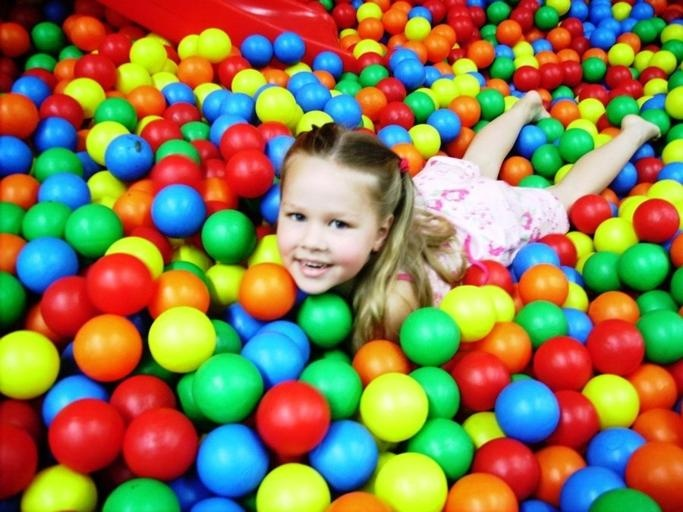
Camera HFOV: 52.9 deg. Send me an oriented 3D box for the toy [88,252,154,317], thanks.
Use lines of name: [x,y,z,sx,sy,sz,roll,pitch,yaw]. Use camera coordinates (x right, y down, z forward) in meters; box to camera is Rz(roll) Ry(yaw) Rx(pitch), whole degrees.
toy: [-0.733,0.109,2.348,0.197,0.212,0.201,-6,51,-6]

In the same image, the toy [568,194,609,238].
toy: [1.103,-0.166,3.135,0.156,0.163,0.203,0,76,-2]

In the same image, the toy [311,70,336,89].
toy: [-0.096,-0.934,3.736,0.097,0.122,0.110,1,97,-10]

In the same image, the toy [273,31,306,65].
toy: [-0.287,-1.114,3.760,0.184,0.183,0.162,9,55,-9]

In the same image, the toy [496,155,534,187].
toy: [0.887,-0.424,3.601,0.139,0.146,0.179,-17,83,-9]

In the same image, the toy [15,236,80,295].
toy: [-1.019,0.025,2.387,0.180,0.190,0.222,-3,54,-27]

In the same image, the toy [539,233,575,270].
toy: [0.948,-0.020,3.043,0.121,0.136,0.161,-1,64,-7]

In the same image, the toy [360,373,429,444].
toy: [0.174,0.502,2.236,0.222,0.223,0.282,9,77,-43]

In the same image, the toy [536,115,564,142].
toy: [1.147,-0.683,3.782,0.125,0.134,0.166,-1,94,5]

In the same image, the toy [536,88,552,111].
toy: [1.224,-0.941,4.145,0.120,0.162,0.128,-1,18,13]

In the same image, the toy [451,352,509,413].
toy: [0.447,0.407,2.314,0.175,0.223,0.187,1,53,8]

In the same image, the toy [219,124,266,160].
toy: [-0.427,-0.483,2.980,0.145,0.180,0.161,-2,67,4]

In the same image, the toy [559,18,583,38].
toy: [1.569,-1.527,4.718,0.127,0.163,0.142,3,72,4]

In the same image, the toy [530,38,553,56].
toy: [1.313,-1.367,4.550,0.116,0.129,0.142,-5,16,-5]

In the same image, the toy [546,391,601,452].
toy: [0.737,0.511,2.284,0.155,0.207,0.165,-5,20,-8]

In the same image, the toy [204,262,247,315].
toy: [-0.431,0.130,2.563,0.145,0.145,0.190,1,90,9]

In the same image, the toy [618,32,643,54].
toy: [1.884,-1.394,4.542,0.125,0.140,0.161,0,33,-6]

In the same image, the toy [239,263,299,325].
toy: [-0.252,0.143,2.499,0.176,0.220,0.197,-6,63,4]

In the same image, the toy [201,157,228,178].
toy: [-0.541,-0.368,2.886,0.095,0.049,0.122,3,58,-15]

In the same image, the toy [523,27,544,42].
toy: [1.295,-1.481,4.651,0.098,0.122,0.112,0,92,12]

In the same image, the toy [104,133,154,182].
toy: [-0.865,-0.387,2.792,0.188,0.165,0.137,-3,58,-17]

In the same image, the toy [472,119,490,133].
toy: [0.765,-0.711,3.792,0.074,0.096,0.081,3,39,-3]

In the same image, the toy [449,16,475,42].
toy: [0.786,-1.456,4.471,0.141,0.185,0.151,1,25,13]

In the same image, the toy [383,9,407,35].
toy: [0.341,-1.484,4.411,0.111,0.137,0.118,-22,57,2]

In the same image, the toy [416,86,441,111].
toy: [0.487,-0.846,3.806,0.126,0.130,0.165,-1,97,9]

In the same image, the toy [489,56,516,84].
toy: [0.993,-1.151,4.260,0.133,0.167,0.149,-8,62,6]

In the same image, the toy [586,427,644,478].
toy: [0.854,0.605,2.178,0.131,0.164,0.137,-21,40,1]

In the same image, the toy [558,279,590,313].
toy: [0.912,0.162,2.728,0.103,0.110,0.136,1,88,8]

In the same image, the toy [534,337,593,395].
toy: [0.769,0.372,2.420,0.161,0.200,0.183,11,63,18]

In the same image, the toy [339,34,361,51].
toy: [0.044,-1.320,4.300,0.114,0.141,0.129,4,101,-7]

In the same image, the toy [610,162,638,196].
toy: [1.407,-0.394,3.480,0.128,0.173,0.138,5,16,7]

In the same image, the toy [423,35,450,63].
toy: [0.613,-1.276,4.313,0.149,0.187,0.155,-20,19,18]

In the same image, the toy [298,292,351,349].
toy: [-0.083,0.245,2.521,0.175,0.178,0.226,-3,79,-9]

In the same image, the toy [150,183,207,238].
toy: [-0.612,-0.168,2.574,0.187,0.130,0.172,-30,70,-30]

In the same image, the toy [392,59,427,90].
toy: [0.383,-0.981,3.825,0.145,0.177,0.164,-7,89,12]

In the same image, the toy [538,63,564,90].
toy: [1.270,-1.097,4.220,0.144,0.186,0.151,5,31,13]

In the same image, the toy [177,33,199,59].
toy: [-0.800,-1.097,3.657,0.117,0.131,0.148,7,27,-10]

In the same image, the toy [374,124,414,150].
toy: [0.251,-0.589,3.444,0.147,0.161,0.178,4,27,-17]

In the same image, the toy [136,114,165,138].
toy: [-0.867,-0.582,3.139,0.111,0.123,0.138,-8,33,-22]

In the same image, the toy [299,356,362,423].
toy: [-0.048,0.413,2.248,0.175,0.180,0.219,3,47,-13]

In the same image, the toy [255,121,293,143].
toy: [-0.297,-0.569,3.088,0.111,0.123,0.135,2,15,-9]

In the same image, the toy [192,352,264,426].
toy: [-0.364,0.420,2.164,0.216,0.169,0.193,22,55,-1]
